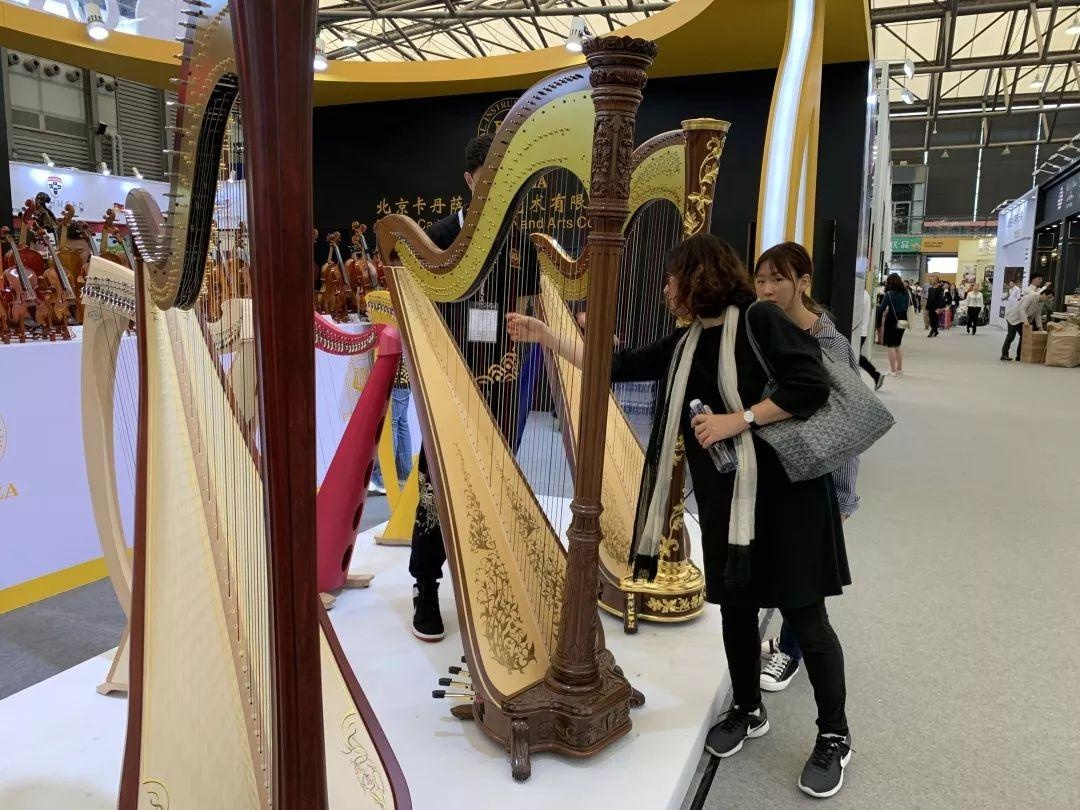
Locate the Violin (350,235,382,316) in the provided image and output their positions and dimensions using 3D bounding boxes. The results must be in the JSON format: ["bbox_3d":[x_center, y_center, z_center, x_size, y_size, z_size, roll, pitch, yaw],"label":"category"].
[{"bbox_3d":[-1.302,-0.981,6.026,0.132,0.553,0.226,-25,47,-29],"label":"Violin"}]

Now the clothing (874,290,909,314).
[{"bbox_3d":[4.124,-1.210,9.804,0.288,0.242,0.723,9,17,26],"label":"clothing"}]

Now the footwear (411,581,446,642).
[{"bbox_3d":[-0.432,0.820,3.310,0.081,0.129,0.265,0,5,-10],"label":"footwear"}]

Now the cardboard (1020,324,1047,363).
[{"bbox_3d":[6.579,-0.813,11.175,0.333,0.541,0.262,9,24,26],"label":"cardboard"}]

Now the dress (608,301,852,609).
[{"bbox_3d":[0.591,0.162,2.769,0.740,0.997,0.435,-5,-8,41],"label":"dress"}]

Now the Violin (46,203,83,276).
[{"bbox_3d":[-2.667,-0.855,4.685,0.165,0.480,0.089,8,-10,-16],"label":"Violin"}]

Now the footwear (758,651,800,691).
[{"bbox_3d":[0.904,0.994,3.171,0.080,0.105,0.233,13,-2,34],"label":"footwear"}]

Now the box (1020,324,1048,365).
[{"bbox_3d":[6.579,-0.802,11.168,0.364,0.562,0.274,6,21,20],"label":"box"}]

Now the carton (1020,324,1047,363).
[{"bbox_3d":[6.579,-0.813,11.175,0.333,0.541,0.262,9,24,26],"label":"carton"}]

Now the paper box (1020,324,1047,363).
[{"bbox_3d":[6.579,-0.813,11.175,0.333,0.541,0.262,9,24,26],"label":"paper box"}]

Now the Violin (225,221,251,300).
[{"bbox_3d":[-0.740,-0.343,2.038,0.058,0.263,0.009,9,41,-12],"label":"Violin"}]

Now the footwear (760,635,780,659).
[{"bbox_3d":[0.910,0.940,3.332,0.052,0.072,0.150,3,11,6],"label":"footwear"}]

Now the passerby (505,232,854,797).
[{"bbox_3d":[0.470,0.345,2.793,0.954,1.810,0.528,-4,4,14],"label":"passerby"}]

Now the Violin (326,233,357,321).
[{"bbox_3d":[-1.463,-0.884,5.987,0.169,0.628,0.280,1,2,33],"label":"Violin"}]

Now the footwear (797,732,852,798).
[{"bbox_3d":[0.908,1.139,2.674,0.092,0.113,0.237,1,6,26],"label":"footwear"}]

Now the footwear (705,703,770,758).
[{"bbox_3d":[0.681,1.085,2.890,0.238,0.127,0.109,-5,11,-43],"label":"footwear"}]

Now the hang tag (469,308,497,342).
[{"bbox_3d":[-0.204,-0.292,3.031,0.089,0.126,0.012,3,4,7],"label":"hang tag"}]

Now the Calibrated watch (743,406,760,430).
[{"bbox_3d":[0.630,0.038,2.513,0.037,0.066,0.058,-25,-18,15],"label":"Calibrated watch"}]
